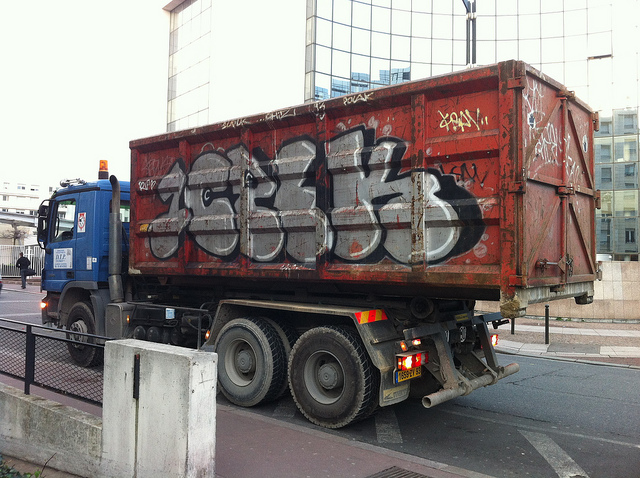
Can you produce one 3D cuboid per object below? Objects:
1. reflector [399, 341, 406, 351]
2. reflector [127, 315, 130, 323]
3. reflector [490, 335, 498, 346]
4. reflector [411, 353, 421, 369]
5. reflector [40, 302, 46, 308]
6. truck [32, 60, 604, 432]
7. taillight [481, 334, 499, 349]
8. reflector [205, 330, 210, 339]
[{"bbox_3d":[1.066,1.389,6.949,0.049,0.102,0.020,-9,-17,-25],"label":"reflector"},{"bbox_3d":[-3.345,1.400,9.376,0.033,0.130,0.022,1,2,-23],"label":"reflector"},{"bbox_3d":[2.592,1.538,8.077,0.046,0.160,0.253,3,2,37],"label":"reflector"},{"bbox_3d":[1.248,1.593,7.004,0.035,0.162,0.146,5,5,41],"label":"reflector"},{"bbox_3d":[-5.452,1.314,10.576,0.066,0.135,0.077,0,1,-36],"label":"reflector"},{"bbox_3d":[-1.095,0.550,9.604,8.388,4.778,3.388,0,-10,26],"label":"truck"},{"bbox_3d":[2.604,1.569,8.217,0.169,0.285,0.222,5,-6,-38],"label":"taillight"},{"bbox_3d":[-1.737,1.486,8.310,0.037,0.131,0.110,1,3,-21],"label":"reflector"}]
